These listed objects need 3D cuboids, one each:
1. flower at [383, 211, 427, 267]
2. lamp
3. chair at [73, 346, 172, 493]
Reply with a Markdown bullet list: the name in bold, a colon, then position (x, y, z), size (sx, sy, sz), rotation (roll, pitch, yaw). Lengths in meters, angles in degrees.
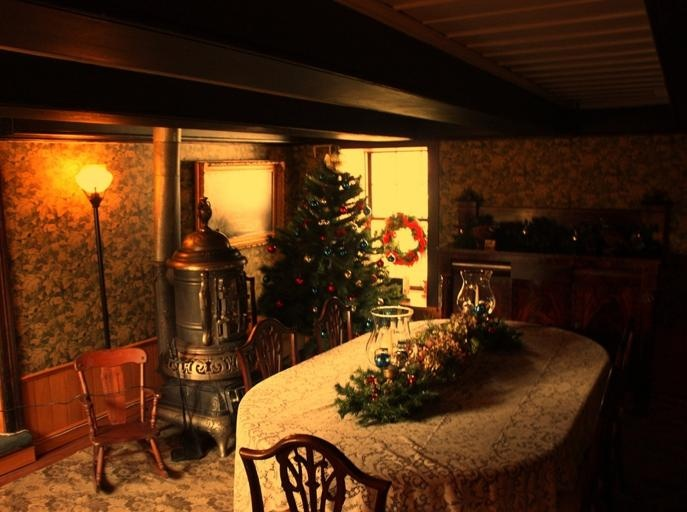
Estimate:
- **flower**: position (0.589, -0.139, 5.902), size (0.477, 0.597, 0.784), rotation (4, 11, 29)
- **lamp**: position (-1.967, 0.032, 4.457), size (0.260, 1.535, 0.504), rotation (-5, 10, -24)
- **chair**: position (-1.580, 1.153, 3.898), size (0.524, 0.857, 0.828), rotation (-2, 5, -32)
